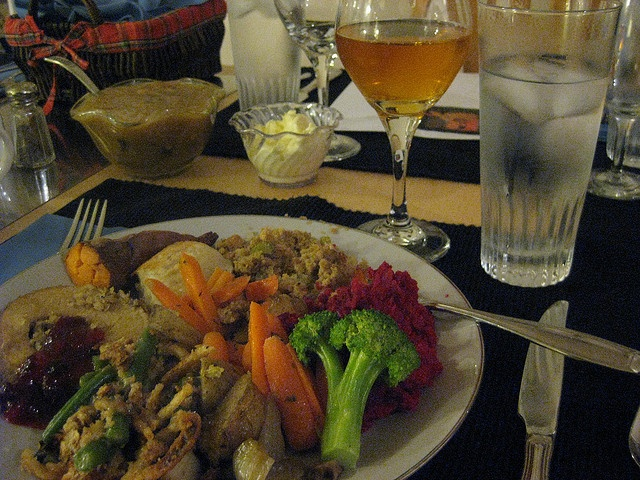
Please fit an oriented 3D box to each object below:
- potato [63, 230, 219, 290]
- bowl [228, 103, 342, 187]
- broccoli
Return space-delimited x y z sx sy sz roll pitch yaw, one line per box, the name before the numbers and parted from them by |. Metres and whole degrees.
potato | -0.418 0.022 1.147 0.133 0.085 0.266 20 32 33
bowl | -0.099 -0.329 1.663 0.301 0.187 0.313 1 26 0
broccoli | 0.069 0.227 0.867 0.201 0.138 0.243 -12 33 -14
